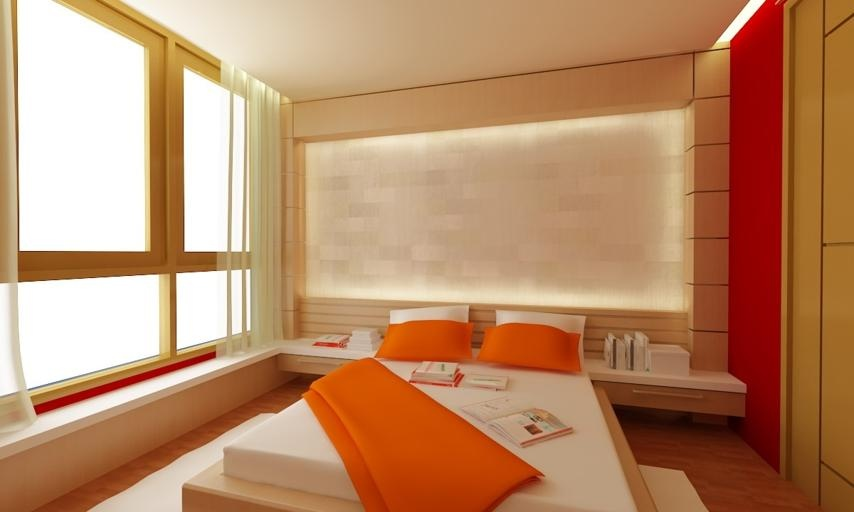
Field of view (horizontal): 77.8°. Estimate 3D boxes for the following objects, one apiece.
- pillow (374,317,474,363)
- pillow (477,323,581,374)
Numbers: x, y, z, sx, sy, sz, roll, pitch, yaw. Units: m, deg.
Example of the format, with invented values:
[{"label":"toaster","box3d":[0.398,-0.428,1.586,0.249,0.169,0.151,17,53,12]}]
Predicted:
[{"label":"pillow","box3d":[-0.024,0.883,5.410,0.798,0.170,0.457,-1,42,10]},{"label":"pillow","box3d":[1.053,0.901,5.173,0.880,0.463,0.191,2,-40,18]}]
